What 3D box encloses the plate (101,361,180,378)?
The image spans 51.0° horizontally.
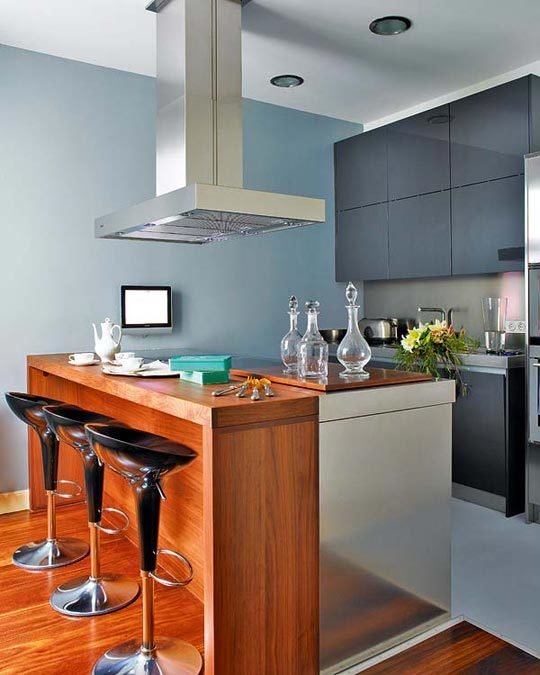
[{"bbox_3d":[-0.573,0.146,2.470,0.303,0.035,0.381,-3,6,-18],"label":"plate"}]

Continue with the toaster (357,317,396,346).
[{"bbox_3d":[0.847,-0.053,4.558,0.207,0.194,0.282,0,0,-32],"label":"toaster"}]

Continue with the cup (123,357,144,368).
[{"bbox_3d":[-0.599,0.121,2.505,0.066,0.043,0.067,0,-3,0],"label":"cup"}]

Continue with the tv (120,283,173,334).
[{"bbox_3d":[-0.867,-0.195,3.865,0.364,0.303,0.037,1,-5,-42],"label":"tv"}]

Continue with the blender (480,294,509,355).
[{"bbox_3d":[1.506,-0.097,3.816,0.162,0.338,0.610,1,6,21],"label":"blender"}]

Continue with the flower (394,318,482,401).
[{"bbox_3d":[0.860,0.063,3.179,0.537,0.537,0.544,2,5,40],"label":"flower"}]

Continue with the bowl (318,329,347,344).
[{"bbox_3d":[0.544,-0.012,4.918,0.171,0.096,0.167,0,-1,0],"label":"bowl"}]
